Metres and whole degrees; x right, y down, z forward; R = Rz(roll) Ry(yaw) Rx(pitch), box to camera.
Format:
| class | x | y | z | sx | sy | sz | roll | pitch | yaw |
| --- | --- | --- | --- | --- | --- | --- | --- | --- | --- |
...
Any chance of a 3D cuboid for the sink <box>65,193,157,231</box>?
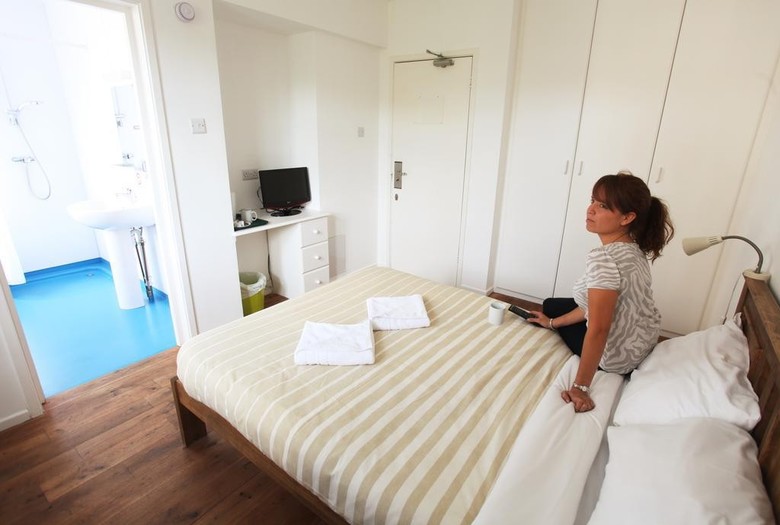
| class | x | y | z | sx | sy | sz | roll | pitch | yaw |
| --- | --- | --- | --- | --- | --- | --- | --- | --- | --- |
| sink | -2.567 | -0.434 | 4.560 | 0.643 | 0.276 | 0.723 | -12 | 22 | -34 |

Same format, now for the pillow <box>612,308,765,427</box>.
| class | x | y | z | sx | sy | sz | roll | pitch | yaw |
| --- | --- | --- | --- | --- | --- | --- | --- | --- | --- |
| pillow | 1.625 | 0.636 | 2.727 | 0.628 | 0.442 | 0.615 | 9 | 20 | 25 |

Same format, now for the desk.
| class | x | y | z | sx | sy | sz | roll | pitch | yaw |
| --- | --- | --- | --- | --- | --- | --- | --- | --- | --- |
| desk | -0.991 | -0.181 | 5.107 | 1.035 | 1.070 | 0.607 | 13 | 25 | 29 |

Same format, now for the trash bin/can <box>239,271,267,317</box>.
| class | x | y | z | sx | sy | sz | roll | pitch | yaw |
| --- | --- | --- | --- | --- | --- | --- | --- | --- | --- |
| trash bin/can | -1.260 | 0.284 | 4.495 | 0.266 | 0.343 | 0.269 | 8 | 27 | 24 |

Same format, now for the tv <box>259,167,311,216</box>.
| class | x | y | z | sx | sy | sz | roll | pitch | yaw |
| --- | --- | --- | --- | --- | --- | --- | --- | --- | --- |
| tv | -1.027 | -0.722 | 4.854 | 0.507 | 0.416 | 0.197 | -13 | 21 | -31 |

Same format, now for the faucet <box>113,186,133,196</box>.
| class | x | y | z | sx | sy | sz | roll | pitch | yaw |
| --- | --- | --- | --- | --- | --- | --- | --- | --- | --- |
| faucet | -2.593 | -0.697 | 4.813 | 0.160 | 0.115 | 0.064 | 3 | 0 | 20 |
